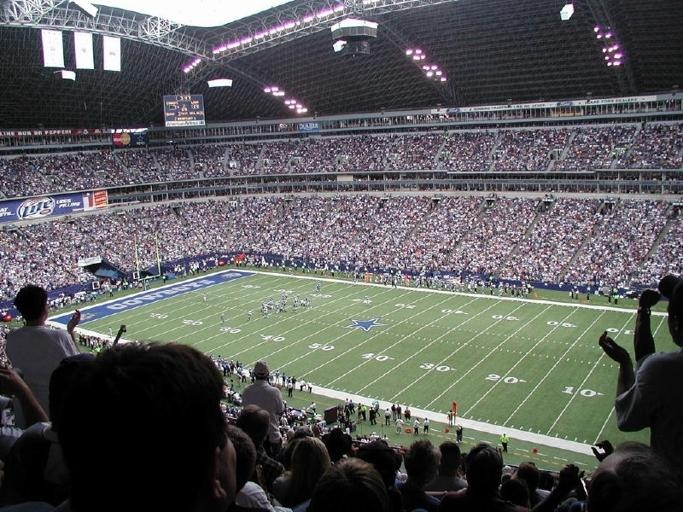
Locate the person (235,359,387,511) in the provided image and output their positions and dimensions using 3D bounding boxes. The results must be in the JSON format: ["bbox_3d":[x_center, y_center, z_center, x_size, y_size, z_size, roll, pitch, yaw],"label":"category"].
[{"bbox_3d":[-1.213,2.391,9.306,1.149,1.194,2.202,3,2,4],"label":"person"}]
